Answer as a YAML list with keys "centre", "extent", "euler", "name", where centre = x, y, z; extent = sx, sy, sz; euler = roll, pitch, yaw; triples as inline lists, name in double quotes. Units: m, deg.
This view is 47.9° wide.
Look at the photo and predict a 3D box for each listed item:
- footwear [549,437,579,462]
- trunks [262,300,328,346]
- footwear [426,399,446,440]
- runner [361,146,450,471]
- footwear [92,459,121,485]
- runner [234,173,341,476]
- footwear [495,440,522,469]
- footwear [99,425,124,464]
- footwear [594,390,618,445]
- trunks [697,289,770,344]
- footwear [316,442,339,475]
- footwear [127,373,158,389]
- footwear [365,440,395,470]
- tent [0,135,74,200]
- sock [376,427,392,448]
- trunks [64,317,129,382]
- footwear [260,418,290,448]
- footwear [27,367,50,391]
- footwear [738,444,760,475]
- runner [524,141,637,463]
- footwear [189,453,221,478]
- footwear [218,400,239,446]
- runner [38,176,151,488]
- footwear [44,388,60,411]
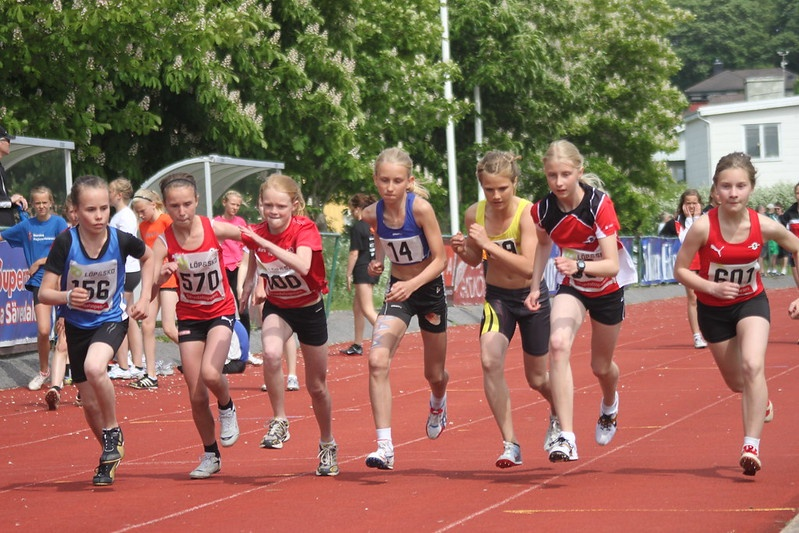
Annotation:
- centre: [1.382, 1.542, 7.591]
  extent: [0.225, 0.226, 0.154]
  euler: [-1, 3, 4]
  name: "footwear"
- centre: [-0.942, 0.646, 8.311]
  extent: [0.649, 0.469, 0.373]
  euler: [-4, -7, 3]
  name: "trunks"
- centre: [0.331, 1.498, 8.798]
  extent: [0.157, 0.438, 0.178]
  euler: [7, 0, 25]
  name: "footwear"
- centre: [0.045, 0.390, 8.315]
  extent: [0.747, 2.962, 1.214]
  euler: [0, 4, 23]
  name: "runner"
- centre: [-2.669, 1.848, 8.131]
  extent: [0.226, 0.222, 0.274]
  euler: [-2, 3, -21]
  name: "footwear"
- centre: [-0.998, 0.525, 8.294]
  extent: [0.845, 2.733, 0.685]
  euler: [-1, 3, 7]
  name: "runner"
- centre: [0.953, 1.647, 7.871]
  extent: [0.121, 0.210, 0.292]
  euler: [0, 3, 27]
  name: "footwear"
- centre: [-2.616, 1.612, 8.147]
  extent: [0.181, 0.314, 0.205]
  euler: [-2, 3, -12]
  name: "footwear"
- centre: [2.003, 1.496, 8.654]
  extent: [0.184, 0.558, 0.245]
  euler: [13, 10, 18]
  name: "footwear"
- centre: [3.032, 0.460, 8.242]
  extent: [0.673, 0.530, 0.475]
  euler: [-15, -10, 7]
  name: "trunks"
- centre: [-0.669, 1.738, 8.264]
  extent: [0.209, 0.302, 0.328]
  euler: [-1, 3, -4]
  name: "footwear"
- centre: [-3.533, 1.594, 12.478]
  extent: [0.450, 0.205, 0.164]
  euler: [3, -2, -9]
  name: "footwear"
- centre: [-0.122, 1.670, 7.900]
  extent: [0.145, 0.243, 0.358]
  euler: [-4, -21, 23]
  name: "footwear"
- centre: [-5.835, -1.659, 14.717]
  extent: [0.900, 1.136, 1.207]
  euler: [-1, -2, 40]
  name: "tent"
- centre: [-0.173, 1.527, 8.032]
  extent: [0.160, 0.214, 0.145]
  euler: [-2, -4, 24]
  name: "sock"
- centre: [-2.871, 0.821, 8.364]
  extent: [0.521, 0.859, 0.620]
  euler: [6, -10, -42]
  name: "trunks"
- centre: [-1.164, 1.547, 8.440]
  extent: [0.174, 0.196, 0.417]
  euler: [0, -2, 8]
  name: "footwear"
- centre: [-5.136, 1.601, 12.768]
  extent: [0.154, 0.180, 0.458]
  euler: [38, 16, -7]
  name: "footwear"
- centre: [2.932, 1.626, 7.503]
  extent: [0.142, 0.270, 0.186]
  euler: [0, 4, 27]
  name: "footwear"
- centre: [1.598, 0.322, 8.167]
  extent: [0.810, 2.951, 1.432]
  euler: [0, 3, 20]
  name: "runner"
- centre: [-1.781, 1.809, 8.221]
  extent: [0.270, 0.221, 0.171]
  euler: [-2, 3, -18]
  name: "footwear"
- centre: [-1.573, 1.455, 8.356]
  extent: [0.150, 0.438, 0.185]
  euler: [-6, 0, 3]
  name: "footwear"
- centre: [-2.765, 0.555, 8.229]
  extent: [0.982, 2.779, 0.639]
  euler: [-2, 3, -16]
  name: "runner"
- centre: [-4.332, 1.614, 11.256]
  extent: [0.135, 0.387, 0.174]
  euler: [8, 39, -4]
  name: "footwear"
